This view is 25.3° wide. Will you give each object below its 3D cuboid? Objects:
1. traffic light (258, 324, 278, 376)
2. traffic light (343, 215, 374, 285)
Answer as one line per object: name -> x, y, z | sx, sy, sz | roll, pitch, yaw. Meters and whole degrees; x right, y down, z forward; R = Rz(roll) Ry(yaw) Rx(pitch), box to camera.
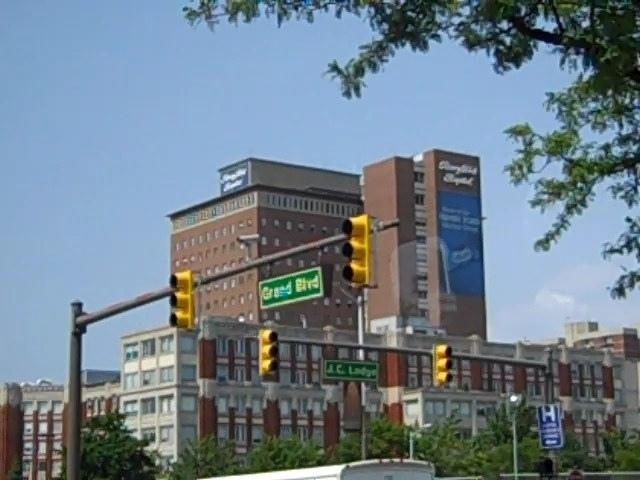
traffic light -> -2.600, 5.584, 70.628 | 0.846, 2.426, 1.247 | -1, -18, -8
traffic light -> 1.661, 0.576, 64.303 | 1.126, 3.294, 1.154 | 0, -5, -8
